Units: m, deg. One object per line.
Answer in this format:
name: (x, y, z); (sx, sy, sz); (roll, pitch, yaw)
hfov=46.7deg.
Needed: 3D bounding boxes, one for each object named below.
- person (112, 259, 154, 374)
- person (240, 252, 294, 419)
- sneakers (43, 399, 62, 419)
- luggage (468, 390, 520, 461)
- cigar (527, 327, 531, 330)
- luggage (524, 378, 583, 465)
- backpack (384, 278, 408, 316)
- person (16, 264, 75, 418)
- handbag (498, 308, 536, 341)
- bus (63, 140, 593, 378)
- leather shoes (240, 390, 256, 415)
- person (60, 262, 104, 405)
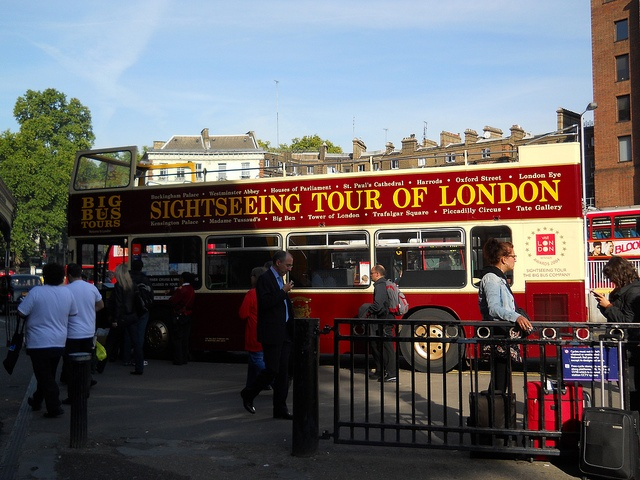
person: (-3.771, 1.530, 14.975); (0.706, 2.299, 1.158); (1, -5, -10)
person: (-0.759, 1.416, 11.182); (0.691, 2.571, 0.667); (1, -5, -6)
sneakers: (-4.050, 2.560, 11.212); (0.398, 0.180, 0.135); (0, 1, 44)
luggage: (2.158, 2.335, 9.338); (0.605, 0.842, 0.372); (-1, -5, 12)
cigar: (2.579, 1.088, 9.207); (0.036, 0.036, 0.010); (6, 0, -6)
luggage: (2.953, 2.194, 9.491); (0.654, 0.910, 0.492); (-2, -1, 15)
backpack: (1.401, 1.088, 13.968); (0.381, 0.703, 0.554); (-18, -12, 22)
person: (-4.148, 1.498, 11.198); (0.777, 2.338, 0.581); (2, -6, -21)
handbag: (2.549, 1.066, 9.656); (0.419, 0.394, 0.866); (-1, -6, 13)
bus: (-0.008, 0.027, 16.997); (11.408, 4.677, 3.093); (-2, 0, 21)
leather shoes: (-1.118, 2.503, 11.465); (0.118, 0.365, 0.247); (-21, -3, -42)
person: (-3.985, 1.433, 12.044); (0.662, 2.077, 0.702); (8, 9, 28)
